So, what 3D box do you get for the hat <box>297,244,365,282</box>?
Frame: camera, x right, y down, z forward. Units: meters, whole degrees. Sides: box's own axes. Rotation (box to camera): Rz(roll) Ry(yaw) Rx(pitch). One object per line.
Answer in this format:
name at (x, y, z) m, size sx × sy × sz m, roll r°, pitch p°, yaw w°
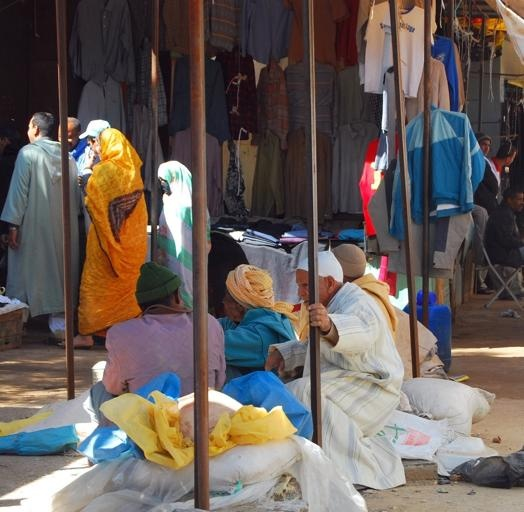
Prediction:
hat at (0.480, 0.054, 7.589) m, size 0.344 × 0.241 × 0.258 m, roll 10°, pitch 1°, yaw 2°
